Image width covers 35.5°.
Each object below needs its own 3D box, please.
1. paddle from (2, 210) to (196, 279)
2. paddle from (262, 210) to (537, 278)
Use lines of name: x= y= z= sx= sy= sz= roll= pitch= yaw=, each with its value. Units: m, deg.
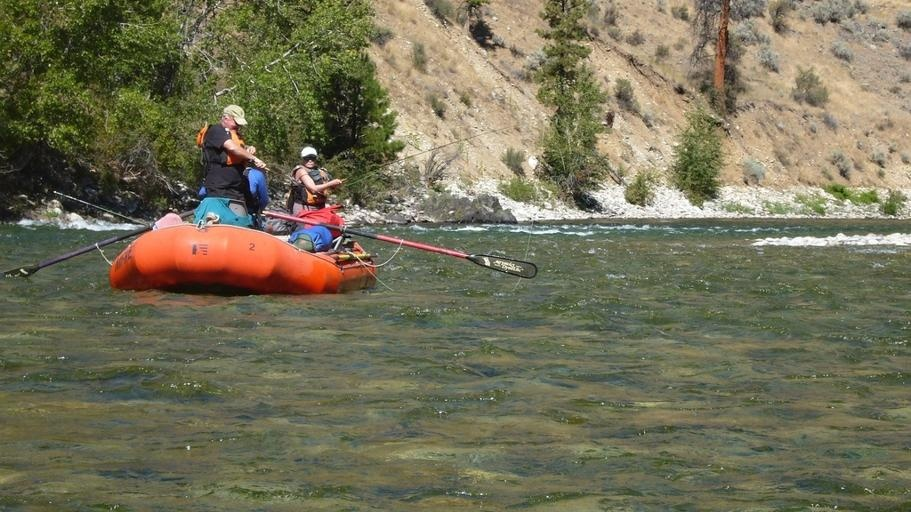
paddle: x=-12.259 y=-0.294 z=48.384 sx=8.538 sy=0.684 sz=0.361 roll=-14 pitch=-13 yaw=-5
paddle: x=-1.784 y=-0.467 z=46.948 sx=9.240 sy=0.439 sz=0.991 roll=13 pitch=-30 yaw=14
